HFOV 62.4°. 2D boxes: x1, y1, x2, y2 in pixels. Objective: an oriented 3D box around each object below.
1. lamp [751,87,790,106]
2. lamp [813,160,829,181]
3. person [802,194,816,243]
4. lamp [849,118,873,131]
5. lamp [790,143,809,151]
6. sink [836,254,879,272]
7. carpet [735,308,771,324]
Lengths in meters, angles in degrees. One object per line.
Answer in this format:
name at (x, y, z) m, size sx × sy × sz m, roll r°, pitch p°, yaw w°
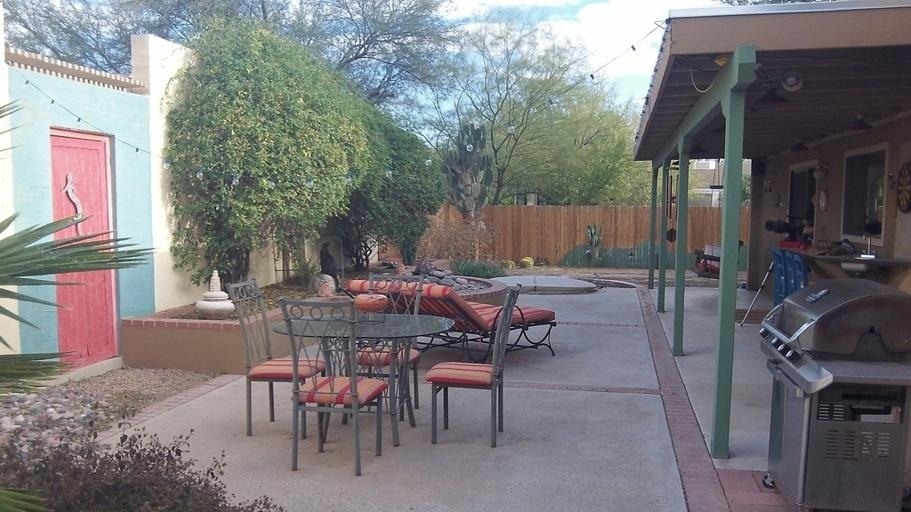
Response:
lamp at (4.192, -2.094, 10.046) m, size 0.320 × 0.134 × 0.437 m, roll 1°, pitch 4°, yaw 10°
lamp at (6.940, -1.639, 14.301) m, size 0.183 × 0.385 × 0.426 m, roll 0°, pitch 2°, yaw 9°
person at (7.028, -0.740, 14.940) m, size 0.211 × 0.978 × 0.842 m, roll 1°, pitch 3°, yaw 24°
lamp at (6.330, -2.069, 11.732) m, size 0.303 × 0.159 × 0.304 m, roll -3°, pitch 1°, yaw 1°
lamp at (6.484, -2.073, 14.129) m, size 0.289 × 0.130 × 0.290 m, roll -3°, pitch 2°, yaw 2°
sink at (5.961, 0.115, 11.106) m, size 0.438 × 0.244 × 0.493 m, roll 0°, pitch 2°, yaw 28°
carpet at (5.382, 1.097, 13.638) m, size 0.518 × 0.220 × 0.495 m, roll 0°, pitch 2°, yaw 21°
